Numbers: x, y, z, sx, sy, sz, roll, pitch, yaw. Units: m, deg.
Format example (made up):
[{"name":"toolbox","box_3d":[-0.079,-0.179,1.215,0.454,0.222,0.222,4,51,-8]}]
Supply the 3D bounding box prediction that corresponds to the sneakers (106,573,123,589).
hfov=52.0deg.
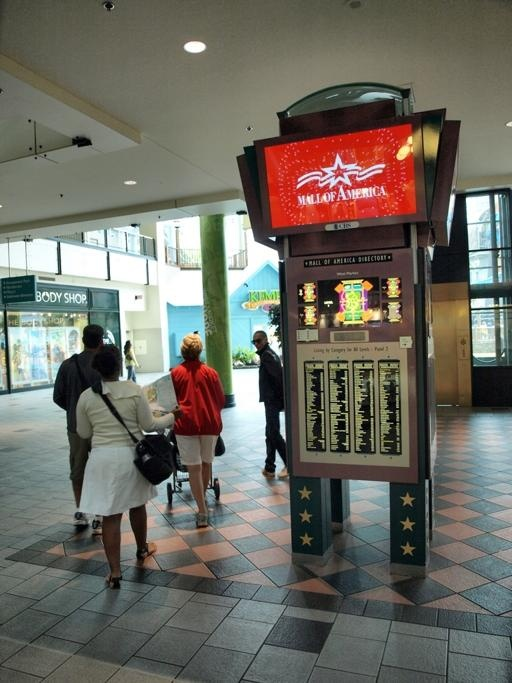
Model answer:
[{"name":"sneakers","box_3d":[-0.889,1.487,3.264,0.050,0.042,0.111,6,4,-2]}]

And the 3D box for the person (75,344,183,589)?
[{"name":"person","box_3d":[-0.826,0.767,3.412,0.623,1.514,0.531,-4,1,-10]}]

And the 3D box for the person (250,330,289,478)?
[{"name":"person","box_3d":[0.148,0.662,5.518,0.262,1.404,0.482,-4,1,-1]}]

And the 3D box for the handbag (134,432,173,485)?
[{"name":"handbag","box_3d":[-0.652,0.780,3.344,0.183,0.294,0.286,-40,-10,-11]}]

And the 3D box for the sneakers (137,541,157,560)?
[{"name":"sneakers","box_3d":[-0.771,1.469,3.685,0.063,0.064,0.158,5,16,14]}]

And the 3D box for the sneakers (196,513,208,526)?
[{"name":"sneakers","box_3d":[-0.448,1.443,4.270,0.070,0.124,0.051,0,-10,0]}]
